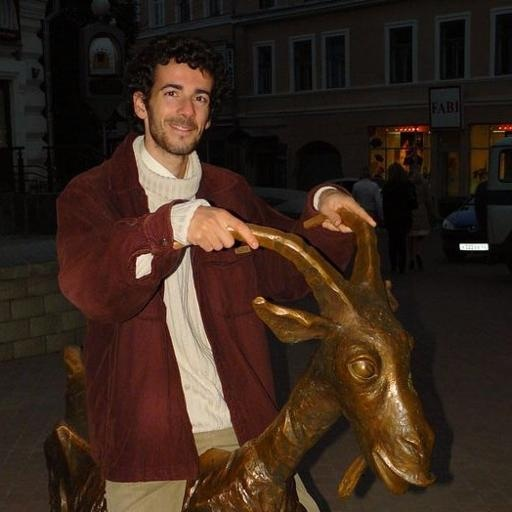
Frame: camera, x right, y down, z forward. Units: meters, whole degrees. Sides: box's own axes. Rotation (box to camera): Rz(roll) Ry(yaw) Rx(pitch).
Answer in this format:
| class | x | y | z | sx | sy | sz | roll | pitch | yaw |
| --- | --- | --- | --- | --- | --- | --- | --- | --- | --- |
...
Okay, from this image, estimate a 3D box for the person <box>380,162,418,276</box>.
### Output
| class | x | y | z | sx | sy | sz | roll | pitch | yaw |
| --- | --- | --- | --- | --- | --- | --- | --- | --- | --- |
| person | 3.020 | -0.775 | 12.267 | 0.705 | 2.341 | 0.607 | 0 | 8 | 4 |
